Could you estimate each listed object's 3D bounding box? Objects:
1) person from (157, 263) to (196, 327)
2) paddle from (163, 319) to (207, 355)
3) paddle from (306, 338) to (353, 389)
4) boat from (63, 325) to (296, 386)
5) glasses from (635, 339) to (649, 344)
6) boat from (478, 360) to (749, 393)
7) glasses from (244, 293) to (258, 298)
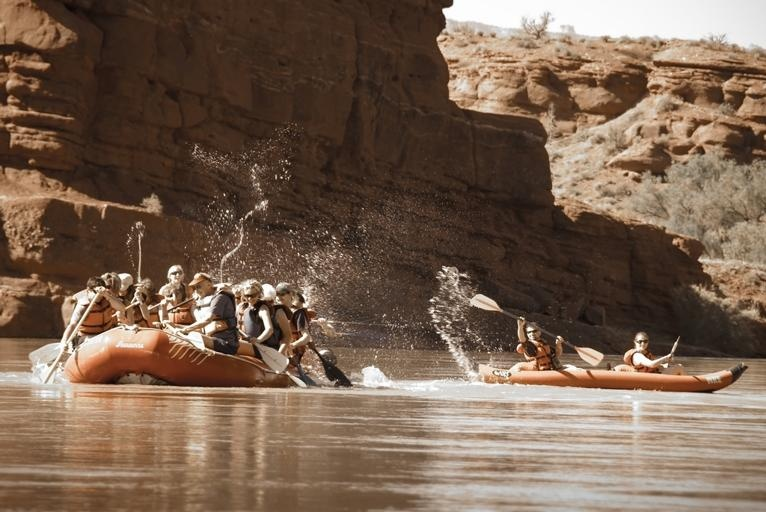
[{"bbox_3d":[-5.735,1.108,34.379,1.011,1.759,0.913,2,-4,2],"label":"person"},{"bbox_3d":[-5.002,2.119,33.127,1.562,0.446,0.576,24,0,3],"label":"paddle"},{"bbox_3d":[-1.398,3.110,34.275,0.636,1.923,0.344,-41,-14,-18],"label":"paddle"},{"bbox_3d":[-5.733,2.856,35.418,5.894,1.462,4.390,0,-2,-5],"label":"boat"},{"bbox_3d":[7.373,2.437,35.245,0.316,0.134,0.233,5,-1,3],"label":"glasses"},{"bbox_3d":[6.307,3.470,33.224,7.983,0.765,4.084,-2,-2,3],"label":"boat"},{"bbox_3d":[-3.506,1.068,33.150,0.376,0.108,0.226,4,-1,22],"label":"glasses"}]
